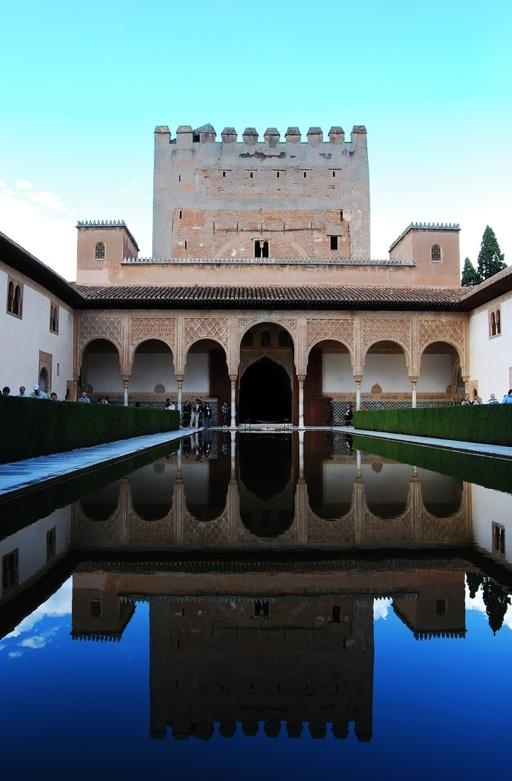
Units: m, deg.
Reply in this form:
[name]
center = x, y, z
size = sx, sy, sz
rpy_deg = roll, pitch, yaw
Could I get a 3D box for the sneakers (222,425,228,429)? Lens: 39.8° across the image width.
[sneakers]
center = -0.960, 1.141, 22.755
size = 0.110, 0.108, 0.084
rpy_deg = 4, 1, 7

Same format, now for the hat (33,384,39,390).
[hat]
center = -4.220, -0.083, 13.640
size = 0.107, 0.170, 0.153
rpy_deg = 3, 1, 1
